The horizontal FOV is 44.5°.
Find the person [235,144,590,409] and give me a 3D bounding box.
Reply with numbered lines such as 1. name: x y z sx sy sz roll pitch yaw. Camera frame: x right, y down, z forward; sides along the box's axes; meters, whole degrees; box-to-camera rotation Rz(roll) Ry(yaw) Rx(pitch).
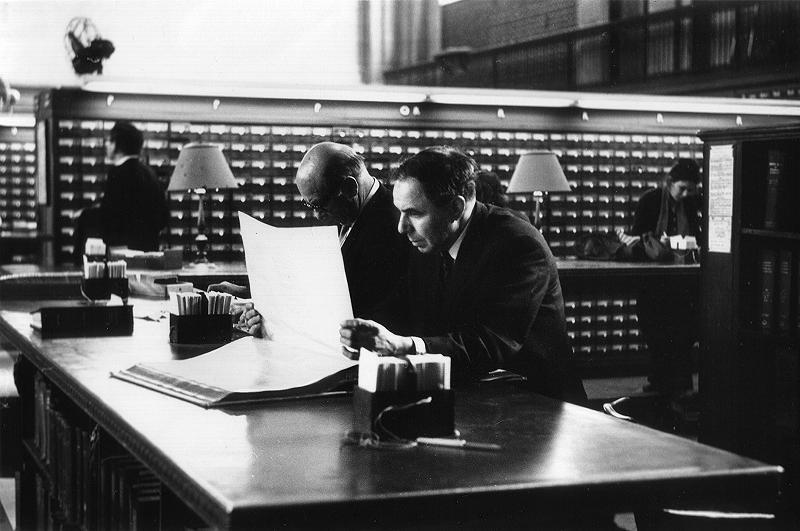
1. person: 0.075 0.221 2.559 0.431 1.049 0.691 20 17 39

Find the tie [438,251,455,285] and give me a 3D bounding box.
1. tie: 0.123 0.003 2.551 0.018 0.050 0.068 0 -34 -11

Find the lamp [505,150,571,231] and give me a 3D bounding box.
1. lamp: 0.348 -0.176 2.428 0.166 0.199 0.172 0 2 -1

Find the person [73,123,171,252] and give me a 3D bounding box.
1. person: -1.023 -0.253 3.737 0.247 0.585 0.718 -4 15 -14
